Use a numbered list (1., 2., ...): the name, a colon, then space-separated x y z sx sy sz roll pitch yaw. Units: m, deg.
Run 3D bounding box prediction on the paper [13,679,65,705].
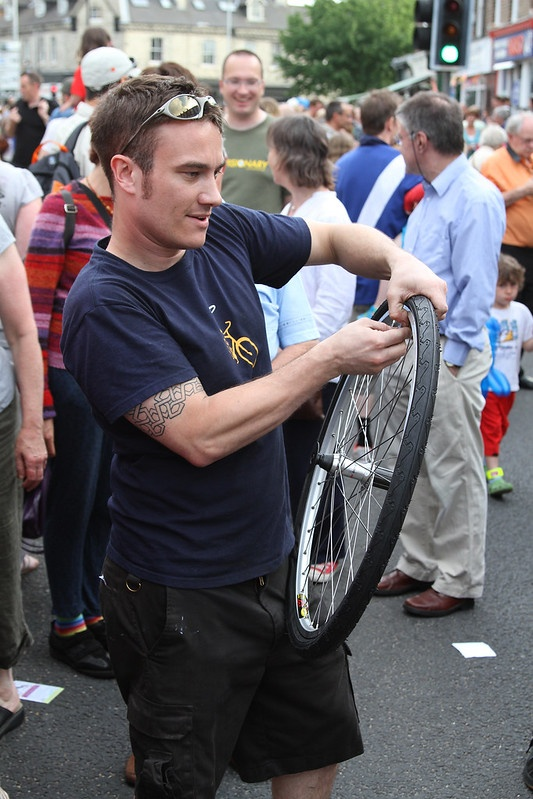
1. paper: -0.849 1.085 2.890 0.099 0.008 0.110 2 10 6
